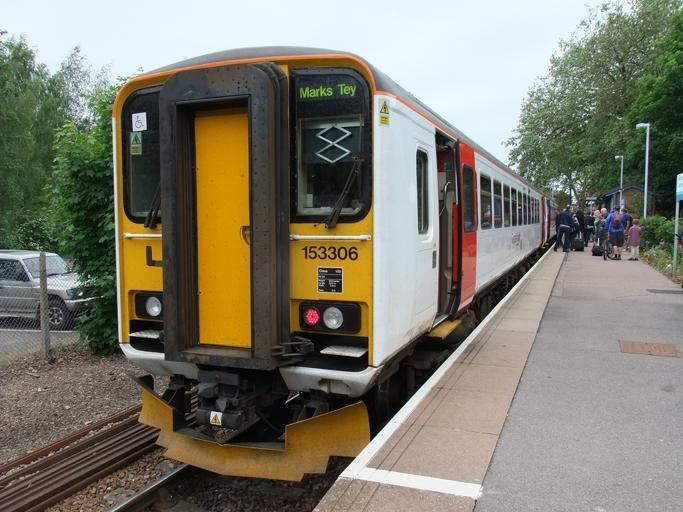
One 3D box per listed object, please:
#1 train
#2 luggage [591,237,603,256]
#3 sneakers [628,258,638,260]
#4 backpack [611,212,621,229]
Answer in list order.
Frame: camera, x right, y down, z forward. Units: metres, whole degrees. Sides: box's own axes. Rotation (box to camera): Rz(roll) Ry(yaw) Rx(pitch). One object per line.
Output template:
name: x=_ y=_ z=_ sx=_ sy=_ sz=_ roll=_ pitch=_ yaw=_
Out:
train: x=-0.038 y=0.132 z=5.552 sx=4.099 sy=4.303 sz=2.236 roll=-4 pitch=9 yaw=-35
luggage: x=11.181 y=-0.419 z=22.434 sx=0.354 sy=0.512 sz=1.281 roll=5 pitch=27 yaw=31
sneakers: x=11.249 y=0.090 z=19.796 sx=0.208 sy=0.096 sz=0.158 roll=3 pitch=2 yaw=39
backpack: x=10.267 y=-1.326 z=19.181 sx=0.331 sy=0.598 sz=0.431 roll=5 pitch=9 yaw=29
